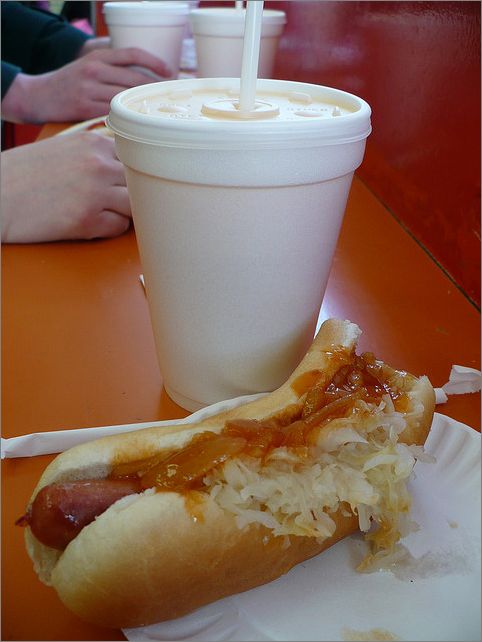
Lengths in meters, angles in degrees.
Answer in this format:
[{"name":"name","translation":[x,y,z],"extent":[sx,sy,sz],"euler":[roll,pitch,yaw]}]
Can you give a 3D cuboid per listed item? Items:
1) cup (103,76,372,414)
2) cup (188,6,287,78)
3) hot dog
[{"name":"cup","translation":[-0.062,-0.130,0.835],"extent":[0.381,0.397,0.368],"euler":[2,31,-1]},{"name":"cup","translation":[-0.026,-0.847,1.852],"extent":[0.272,0.220,0.276],"euler":[4,39,-3]},{"name":"hot dog","translation":[0.020,0.153,0.663],"extent":[0.434,0.170,0.207],"euler":[-20,27,-26]}]
